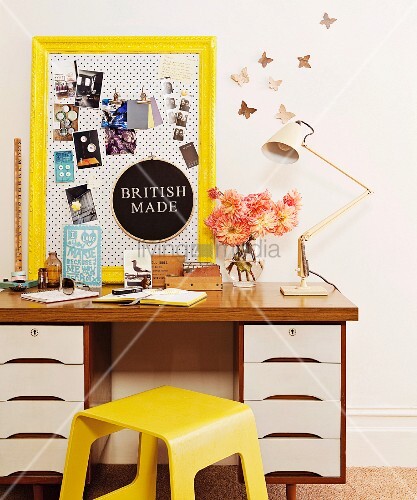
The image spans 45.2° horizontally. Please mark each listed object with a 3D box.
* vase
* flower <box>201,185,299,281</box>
[{"bbox_3d":[0.139,0.037,2.005,0.148,0.225,0.141,-1,-8,-10],"label":"vase"},{"bbox_3d":[0.159,-0.055,2.034,0.350,0.366,0.332,7,-2,-41],"label":"flower"}]
